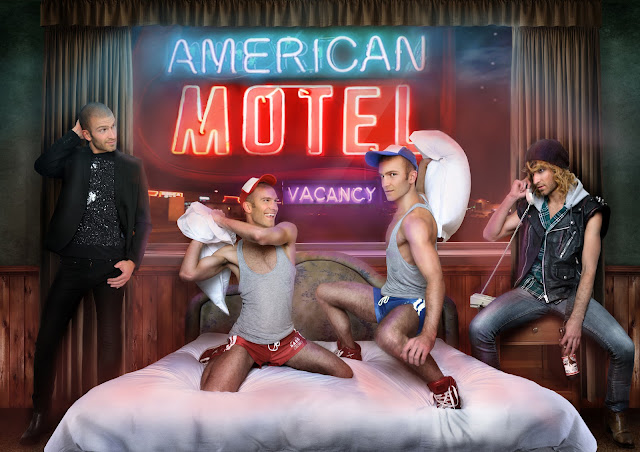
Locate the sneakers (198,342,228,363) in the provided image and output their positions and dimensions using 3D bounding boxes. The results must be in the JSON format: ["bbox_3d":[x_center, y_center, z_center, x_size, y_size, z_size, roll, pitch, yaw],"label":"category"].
[{"bbox_3d":[-0.683,0.796,3.548,0.153,0.061,0.156,-34,-10,29],"label":"sneakers"}]

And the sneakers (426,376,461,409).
[{"bbox_3d":[0.723,0.962,3.238,0.104,0.093,0.249,6,8,10],"label":"sneakers"}]

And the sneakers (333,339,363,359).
[{"bbox_3d":[0.186,0.848,3.800,0.160,0.111,0.096,18,-18,9],"label":"sneakers"}]

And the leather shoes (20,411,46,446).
[{"bbox_3d":[-1.991,1.373,3.849,0.165,0.212,0.098,-4,9,-27],"label":"leather shoes"}]

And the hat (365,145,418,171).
[{"bbox_3d":[0.453,-0.438,3.573,0.265,0.133,0.168,22,-1,-10],"label":"hat"}]

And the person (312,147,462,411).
[{"bbox_3d":[0.456,0.355,3.744,0.896,1.423,1.571,-1,4,-25],"label":"person"}]

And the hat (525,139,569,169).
[{"bbox_3d":[1.617,-0.481,3.995,0.222,0.155,0.224,15,0,-12],"label":"hat"}]

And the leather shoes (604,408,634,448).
[{"bbox_3d":[2.077,1.376,3.866,0.188,0.229,0.154,6,10,38],"label":"leather shoes"}]
